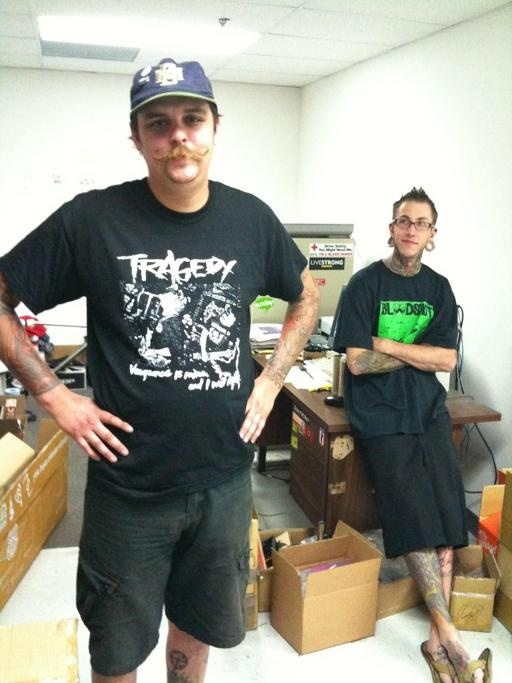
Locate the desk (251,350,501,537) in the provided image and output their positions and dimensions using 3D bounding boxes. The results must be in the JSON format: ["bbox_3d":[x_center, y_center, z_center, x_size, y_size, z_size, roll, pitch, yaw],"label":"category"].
[{"bbox_3d":[0.447,0.494,3.172,0.838,0.646,1.415,-2,13,-19],"label":"desk"}]

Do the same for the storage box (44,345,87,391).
[{"bbox_3d":[-1.253,0.172,3.939,0.389,0.310,0.085,-2,-25,1],"label":"storage box"}]

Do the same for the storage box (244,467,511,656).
[{"bbox_3d":[0.334,0.917,2.250,0.590,0.136,0.590,-3,19,-14],"label":"storage box"}]
